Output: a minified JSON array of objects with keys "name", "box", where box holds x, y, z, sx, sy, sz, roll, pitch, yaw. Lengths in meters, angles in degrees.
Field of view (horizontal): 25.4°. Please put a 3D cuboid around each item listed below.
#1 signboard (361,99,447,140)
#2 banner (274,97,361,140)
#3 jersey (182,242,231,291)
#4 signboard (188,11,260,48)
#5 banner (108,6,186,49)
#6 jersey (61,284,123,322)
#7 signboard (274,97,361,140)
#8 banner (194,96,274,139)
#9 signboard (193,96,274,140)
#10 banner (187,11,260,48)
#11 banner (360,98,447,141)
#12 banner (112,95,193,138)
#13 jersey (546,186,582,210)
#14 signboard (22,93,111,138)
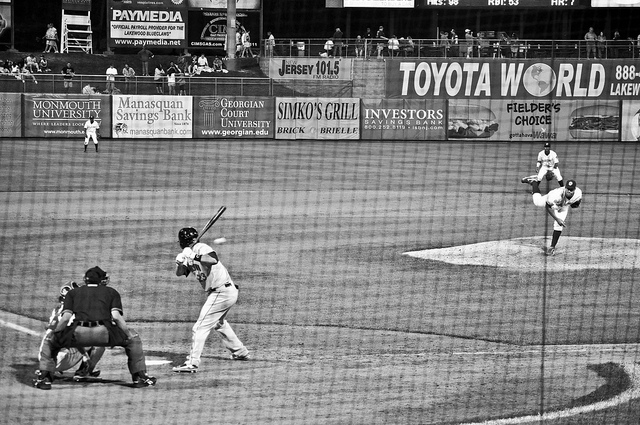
[{"name":"signboard","box":[4.631,-5.162,76.359,0.579,2.423,6.086,-4,6,-45]},{"name":"banner","box":[-0.416,-5.089,76.162,6.144,2.248,0.796,-3,5,-40]},{"name":"jersey","box":[-3.607,1.781,46.003,1.401,0.734,1.769,2,-28,42]},{"name":"signboard","box":[-5.861,-10.893,84.264,5.092,2.329,0.065,-5,17,-36]},{"name":"banner","box":[-10.221,-10.846,82.192,3.481,1.570,0.034,-1,5,-10]},{"name":"jersey","box":[-7.404,2.834,45.389,2.069,1.064,0.911,0,11,-17]},{"name":"signboard","box":[-0.346,-5.057,76.121,5.996,2.188,0.665,-3,5,-40]},{"name":"banner","box":[-4.869,-5.092,75.493,5.696,2.281,0.504,-4,6,-44]},{"name":"signboard","box":[-4.339,-5.150,75.665,5.325,2.291,0.565,5,13,37]},{"name":"banner","box":[-5.891,-10.800,83.389,3.662,1.577,0.070,0,3,-12]},{"name":"banner","box":[4.387,-5.125,76.423,6.225,2.387,0.629,-3,4,-39]},{"name":"banner","box":[-8.786,-5.099,74.569,5.615,2.353,0.455,-2,2,-31]},{"name":"jersey","box":[8.950,-0.671,52.358,1.016,0.994,0.363,38,25,-26]},{"name":"signboard","box":[-13.274,-5.107,73.646,5.263,2.374,0.529,-3,10,-39]}]
